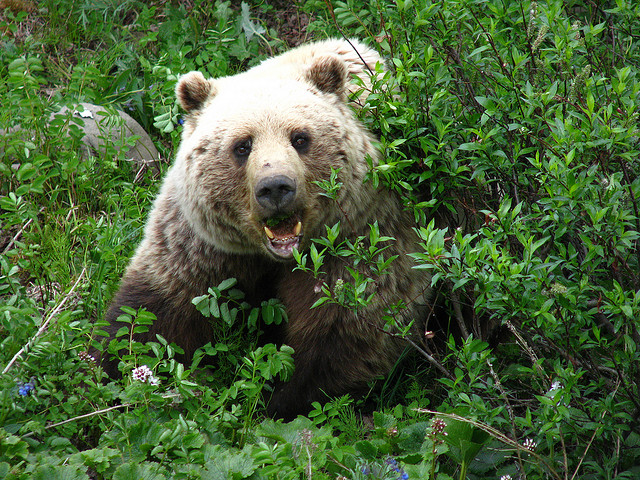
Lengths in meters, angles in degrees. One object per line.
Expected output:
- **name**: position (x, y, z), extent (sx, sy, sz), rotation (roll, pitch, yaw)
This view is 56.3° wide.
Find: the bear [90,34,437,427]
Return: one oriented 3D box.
- **bear**: position (-0.299, -0.271, 4.908), extent (1.729, 2.379, 3.528), rotation (5, 12, -2)
